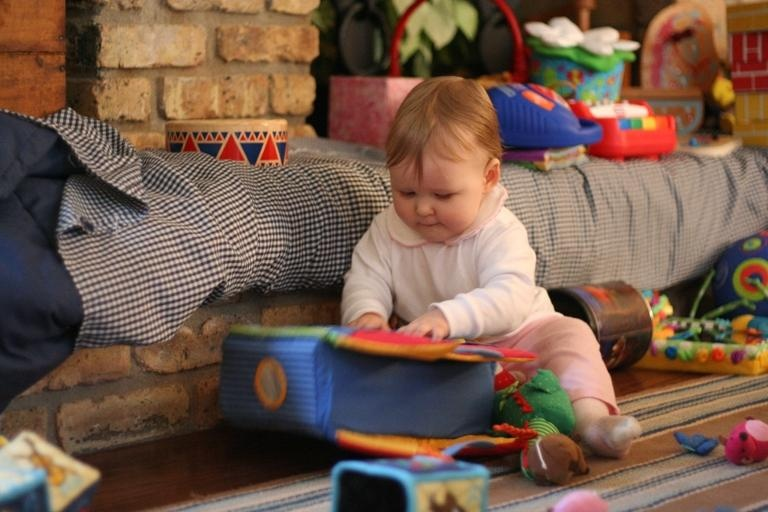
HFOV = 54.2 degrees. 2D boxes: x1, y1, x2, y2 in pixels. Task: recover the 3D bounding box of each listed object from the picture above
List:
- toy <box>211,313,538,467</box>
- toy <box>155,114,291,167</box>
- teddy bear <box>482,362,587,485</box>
[{"bbox_3d":[-0.044,0.202,1.367,0.353,0.138,0.282,1,-3,35],"label":"toy"},{"bbox_3d":[-0.356,-0.247,1.720,0.306,0.120,0.306,2,10,10],"label":"toy"},{"bbox_3d":[0.282,0.269,1.368,0.121,0.058,0.088,-34,66,-26],"label":"teddy bear"}]
